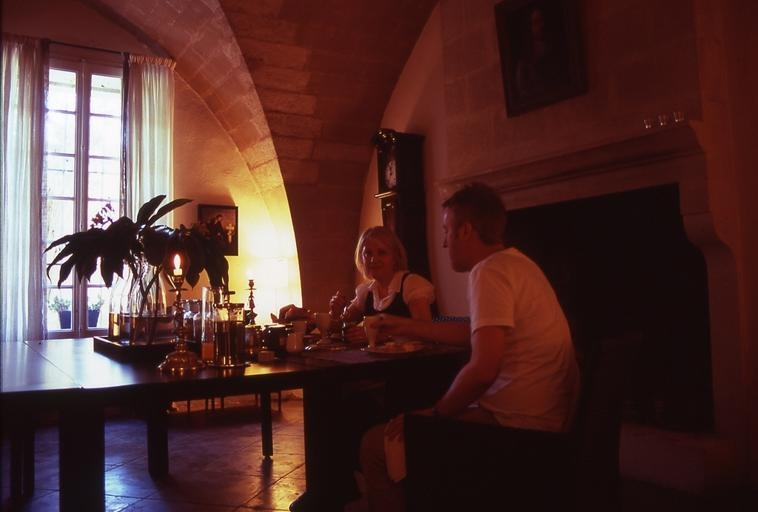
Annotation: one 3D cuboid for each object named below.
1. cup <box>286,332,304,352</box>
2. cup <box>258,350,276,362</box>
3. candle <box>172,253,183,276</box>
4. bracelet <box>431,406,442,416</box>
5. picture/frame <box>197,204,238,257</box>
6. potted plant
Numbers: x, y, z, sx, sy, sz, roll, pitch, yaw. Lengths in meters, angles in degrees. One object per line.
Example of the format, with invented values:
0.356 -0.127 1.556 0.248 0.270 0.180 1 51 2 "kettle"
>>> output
-0.453 0.462 3.071 0.092 0.092 0.093 0 -9 0 "cup"
-0.583 0.509 2.920 0.059 0.038 0.060 2 3 0 "cup"
-0.996 0.043 2.818 0.046 0.107 0.034 -2 -1 -19 "candle"
0.249 0.693 2.564 0.038 0.039 0.070 -2 0 -17 "bracelet"
-1.835 -0.272 6.446 0.449 0.642 0.043 1 -17 -14 "picture/frame"
-1.306 0.042 3.105 0.784 0.519 0.782 -3 -5 -32 "potted plant"
